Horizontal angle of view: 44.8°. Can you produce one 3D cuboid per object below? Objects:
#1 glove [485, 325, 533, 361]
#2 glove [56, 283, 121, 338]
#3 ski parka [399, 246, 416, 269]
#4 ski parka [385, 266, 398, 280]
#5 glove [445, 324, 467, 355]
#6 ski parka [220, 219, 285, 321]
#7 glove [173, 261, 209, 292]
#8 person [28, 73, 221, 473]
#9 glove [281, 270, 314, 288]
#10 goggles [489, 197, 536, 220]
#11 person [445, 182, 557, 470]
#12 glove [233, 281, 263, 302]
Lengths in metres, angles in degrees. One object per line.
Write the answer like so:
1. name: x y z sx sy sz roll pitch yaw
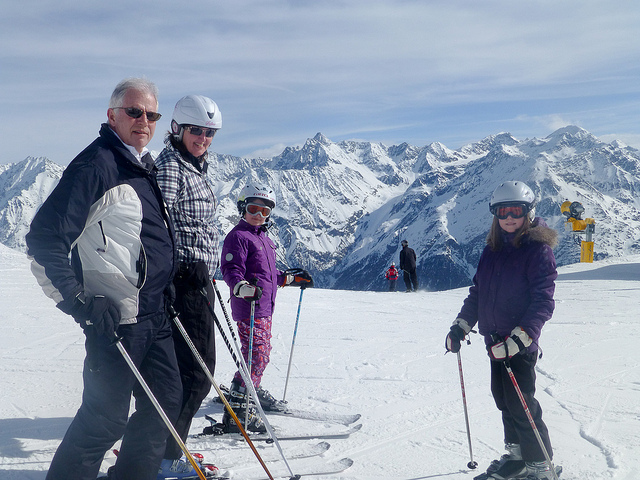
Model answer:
1. glove: 1.886 1.024 7.794 0.422 0.253 0.190 -25 -5 1
2. glove: -1.923 0.602 6.711 0.454 0.217 0.450 41 -4 -8
3. ski parka: 2.800 0.565 24.952 0.497 0.723 0.646 -3 5 6
4. ski parka: 2.796 1.311 30.267 0.437 0.591 0.232 -2 -11 23
5. glove: 1.419 1.034 8.242 0.119 0.301 0.186 24 -7 11
6. ski parka: -0.820 0.332 8.848 0.442 1.123 0.921 -2 5 21
7. glove: -1.242 0.339 7.800 0.338 0.300 0.249 -21 -3 14
8. person: -1.823 0.434 7.064 1.300 3.778 0.982 -5 5 -10
9. glove: -0.316 0.452 9.772 0.357 0.142 0.259 -27 -28 33
10. goggles: 1.998 -0.315 8.063 0.469 0.187 0.153 -3 5 12
11. person: 1.951 0.866 7.971 0.774 2.882 0.998 -7 6 -33
12. glove: -0.765 0.546 8.363 0.187 0.114 0.247 15 2 -45
